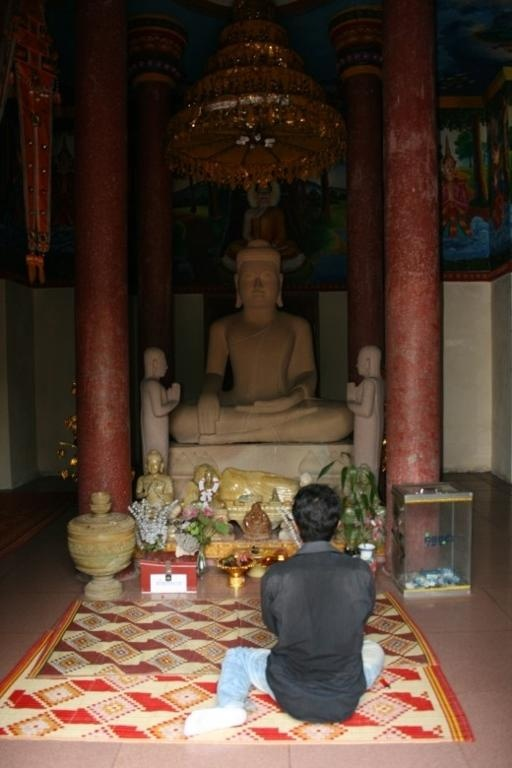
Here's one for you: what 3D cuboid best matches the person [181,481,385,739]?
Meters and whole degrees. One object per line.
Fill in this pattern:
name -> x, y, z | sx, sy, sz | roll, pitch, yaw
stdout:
person -> 0.088, 0.652, 1.973 | 0.748, 0.667, 0.442 | 1, 1, -21

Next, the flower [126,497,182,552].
flower -> -0.594, 0.782, 3.756 | 0.284, 0.336, 0.322 | -2, 2, -12

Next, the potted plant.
potted plant -> 0.638, 0.738, 3.916 | 0.351, 0.599, 0.359 | -21, -12, 20

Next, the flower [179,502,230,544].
flower -> -0.286, 0.797, 3.652 | 0.239, 0.211, 0.245 | 11, -20, 9
